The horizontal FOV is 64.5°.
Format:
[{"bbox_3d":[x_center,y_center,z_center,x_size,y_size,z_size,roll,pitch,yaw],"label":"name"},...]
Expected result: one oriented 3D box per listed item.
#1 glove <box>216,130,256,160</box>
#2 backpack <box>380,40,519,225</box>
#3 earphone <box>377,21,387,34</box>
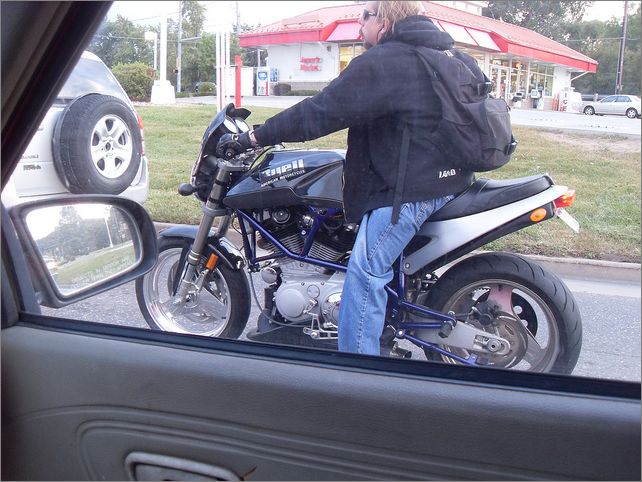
[{"bbox_3d":[-0.437,-0.515,2.668,0.179,0.138,0.084,-8,-30,33],"label":"glove"},{"bbox_3d":[0.543,-0.558,2.295,0.553,0.591,0.448,-8,26,4],"label":"backpack"},{"bbox_3d":[0.285,-0.995,2.364,0.028,0.042,0.016,16,15,-11],"label":"earphone"}]
